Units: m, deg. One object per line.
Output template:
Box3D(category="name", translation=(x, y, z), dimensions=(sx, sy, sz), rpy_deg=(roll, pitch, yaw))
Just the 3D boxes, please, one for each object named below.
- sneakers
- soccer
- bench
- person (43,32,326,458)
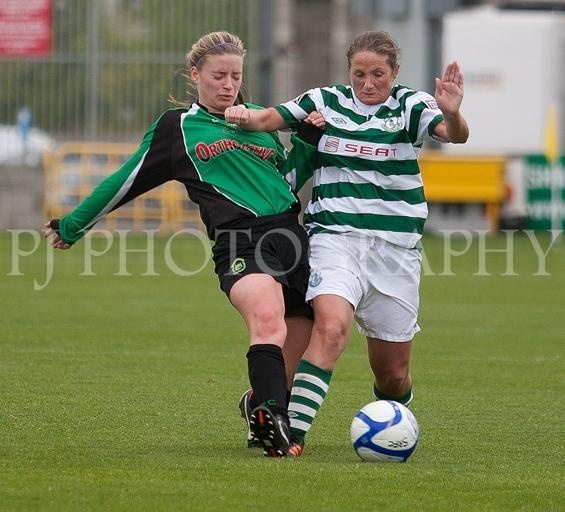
Box3D(category="sneakers", translation=(-0.092, 0.969, 6.876), dimensions=(0.154, 0.465, 0.236), rpy_deg=(-5, 29, 15))
Box3D(category="soccer", translation=(0.569, 0.981, 6.938), dimensions=(0.328, 0.327, 0.316), rpy_deg=(6, -18, -7))
Box3D(category="bench", translation=(3.664, -1.291, 24.734), dimensions=(2.246, 1.266, 2.180), rpy_deg=(-3, 7, -35))
Box3D(category="person", translation=(-0.354, -0.142, 7.207), dimensions=(1.387, 2.254, 0.765), rpy_deg=(10, 12, 34))
